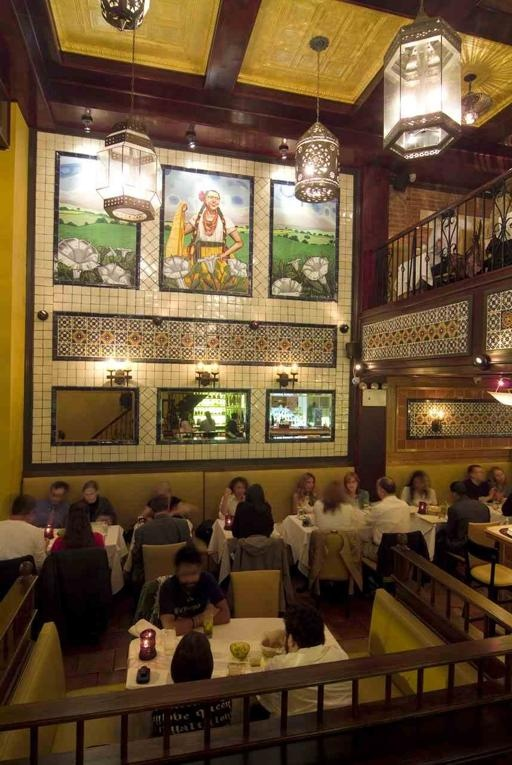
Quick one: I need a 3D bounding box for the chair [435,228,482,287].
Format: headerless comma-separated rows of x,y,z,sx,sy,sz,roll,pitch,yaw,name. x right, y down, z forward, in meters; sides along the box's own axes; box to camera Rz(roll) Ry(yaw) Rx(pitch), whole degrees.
1.941,-1.141,5.706,0.454,0.258,0.582,-7,-8,-24,chair

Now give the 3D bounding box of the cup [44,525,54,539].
-1.871,1.351,5.448,0.083,0.092,0.088,2,-4,0,cup

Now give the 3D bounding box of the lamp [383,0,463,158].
0.883,-1.633,3.224,0.396,0.746,0.381,1,3,14,lamp

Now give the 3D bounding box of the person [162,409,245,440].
-0.617,0.524,7.218,0.959,0.338,0.166,0,3,-12,person

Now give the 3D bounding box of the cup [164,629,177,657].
-0.503,1.510,3.507,0.074,0.134,0.075,-1,-7,0,cup

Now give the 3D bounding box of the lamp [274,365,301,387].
0.367,-0.090,7.482,0.253,0.259,0.082,0,-3,-23,lamp

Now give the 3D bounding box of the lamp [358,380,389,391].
1.502,0.050,7.677,0.480,0.139,0.211,-1,4,-28,lamp

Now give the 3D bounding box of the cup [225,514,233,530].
-0.277,1.387,5.984,0.123,0.135,0.132,0,-9,0,cup

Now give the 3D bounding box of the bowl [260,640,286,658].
0.101,1.482,3.345,0.122,0.080,0.122,0,-14,0,bowl

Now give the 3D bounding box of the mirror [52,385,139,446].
-1.938,0.357,7.192,0.902,0.703,0.994,-1,3,-21,mirror

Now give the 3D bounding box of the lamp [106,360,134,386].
-1.551,-0.112,6.786,0.269,0.275,0.081,1,-8,-27,lamp
